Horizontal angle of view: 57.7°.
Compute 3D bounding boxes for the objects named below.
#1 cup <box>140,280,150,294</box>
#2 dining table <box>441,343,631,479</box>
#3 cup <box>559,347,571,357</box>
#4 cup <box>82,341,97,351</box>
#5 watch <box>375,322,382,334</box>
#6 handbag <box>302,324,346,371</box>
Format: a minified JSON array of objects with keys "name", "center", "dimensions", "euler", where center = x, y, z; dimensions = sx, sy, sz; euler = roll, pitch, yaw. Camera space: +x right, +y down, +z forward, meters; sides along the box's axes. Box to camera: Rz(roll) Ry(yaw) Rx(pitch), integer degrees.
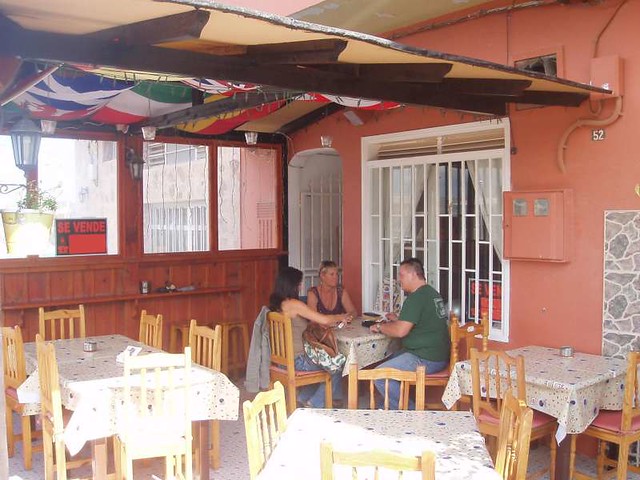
[{"name":"cup","center":[-2.173,0.584,7.224],"dimensions":[0.112,0.166,0.087],"euler":[0,1,-19]},{"name":"dining table","center":[1.894,1.183,4.773],"dimensions":[1.338,0.751,1.367],"euler":[2,5,45]},{"name":"cup","center":[2.186,0.997,5.201],"dimensions":[0.073,0.058,0.081],"euler":[-3,-3,42]},{"name":"cup","center":[-2.125,0.984,5.378],"dimensions":[0.103,0.070,0.103],"euler":[1,-3,0]},{"name":"watch","center":[0.605,0.919,6.010],"dimensions":[0.030,0.091,0.064],"euler":[2,7,-17]},{"name":"handbag","center":[0.050,1.131,6.038],"dimensions":[0.474,0.489,0.217],"euler":[0,1,14]}]
